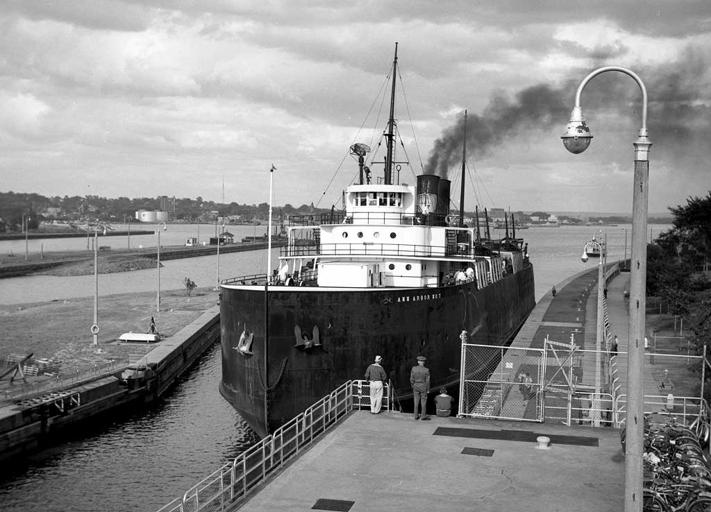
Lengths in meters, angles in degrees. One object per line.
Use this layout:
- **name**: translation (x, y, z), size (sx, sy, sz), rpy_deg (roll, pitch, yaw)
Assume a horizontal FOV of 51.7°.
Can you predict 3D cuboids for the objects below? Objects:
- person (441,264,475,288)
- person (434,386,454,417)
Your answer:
- **person**: translation (4.721, 0.945, 33.545), size (0.705, 0.969, 2.490), rpy_deg (3, 11, 21)
- **person**: translation (2.615, 4.403, 21.857), size (0.462, 1.089, 1.713), rpy_deg (-5, 7, 7)
